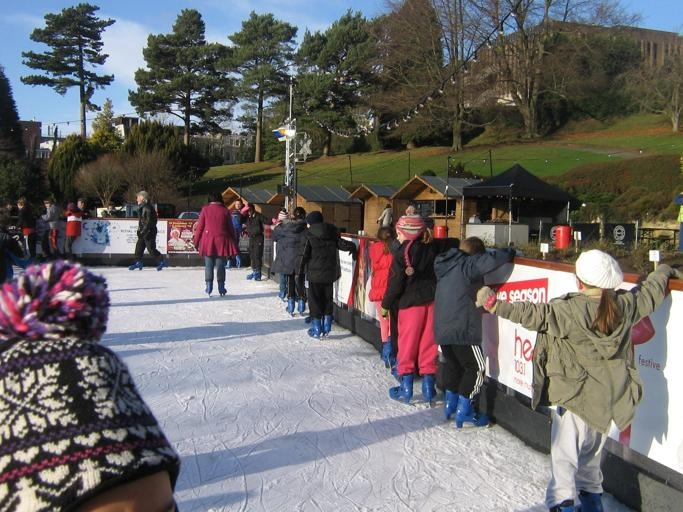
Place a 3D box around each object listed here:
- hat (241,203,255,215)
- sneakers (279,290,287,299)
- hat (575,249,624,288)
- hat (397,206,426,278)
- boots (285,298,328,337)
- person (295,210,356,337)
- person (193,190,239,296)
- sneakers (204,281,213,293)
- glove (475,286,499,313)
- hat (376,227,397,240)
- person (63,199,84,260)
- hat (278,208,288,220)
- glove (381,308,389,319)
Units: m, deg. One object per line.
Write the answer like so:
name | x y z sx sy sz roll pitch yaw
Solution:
hat | -2.118 -1.090 15.014 0.319 0.182 0.539 -22 5 -10
sneakers | -1.010 0.619 11.162 0.081 0.156 0.165 2 47 -12
hat | 1.507 0.090 3.928 0.250 0.250 0.239 1 8 20
hat | 0.617 -0.140 5.926 0.271 0.550 0.193 0 -1 27
boots | -0.477 0.836 8.900 0.184 0.321 0.613 -4 29 -38
person | -0.225 0.248 8.478 0.484 1.629 0.709 3 8 36
person | -2.187 -0.177 11.542 0.702 1.899 1.288 -3 7 -13
sneakers | -2.359 0.551 11.711 0.086 0.213 0.188 3 -23 -14
glove | 0.972 0.298 4.513 0.087 0.173 0.175 5 29 -29
hat | 0.453 -0.234 6.961 0.109 0.171 0.159 6 16 -23
person | -6.920 -0.695 17.061 0.479 1.413 0.990 -4 7 -23
hat | -0.912 -0.635 10.213 0.110 0.149 0.294 0 -1 -5
glove | 0.379 0.520 5.974 0.070 0.090 0.090 0 -1 10
